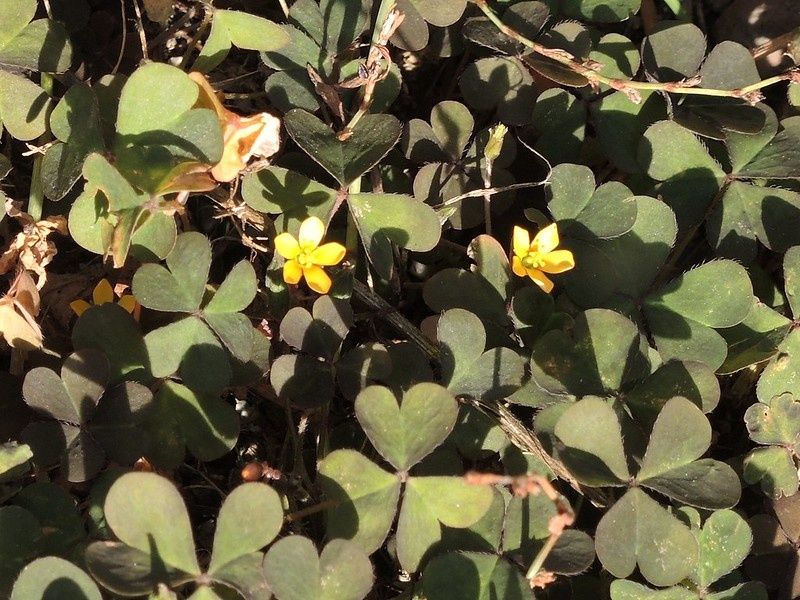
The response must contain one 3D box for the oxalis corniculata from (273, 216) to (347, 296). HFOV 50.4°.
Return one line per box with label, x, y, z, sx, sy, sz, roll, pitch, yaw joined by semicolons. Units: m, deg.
oxalis corniculata;-0.389;-0.207;3.322;0.246;0.267;0.119;1;65;-40
